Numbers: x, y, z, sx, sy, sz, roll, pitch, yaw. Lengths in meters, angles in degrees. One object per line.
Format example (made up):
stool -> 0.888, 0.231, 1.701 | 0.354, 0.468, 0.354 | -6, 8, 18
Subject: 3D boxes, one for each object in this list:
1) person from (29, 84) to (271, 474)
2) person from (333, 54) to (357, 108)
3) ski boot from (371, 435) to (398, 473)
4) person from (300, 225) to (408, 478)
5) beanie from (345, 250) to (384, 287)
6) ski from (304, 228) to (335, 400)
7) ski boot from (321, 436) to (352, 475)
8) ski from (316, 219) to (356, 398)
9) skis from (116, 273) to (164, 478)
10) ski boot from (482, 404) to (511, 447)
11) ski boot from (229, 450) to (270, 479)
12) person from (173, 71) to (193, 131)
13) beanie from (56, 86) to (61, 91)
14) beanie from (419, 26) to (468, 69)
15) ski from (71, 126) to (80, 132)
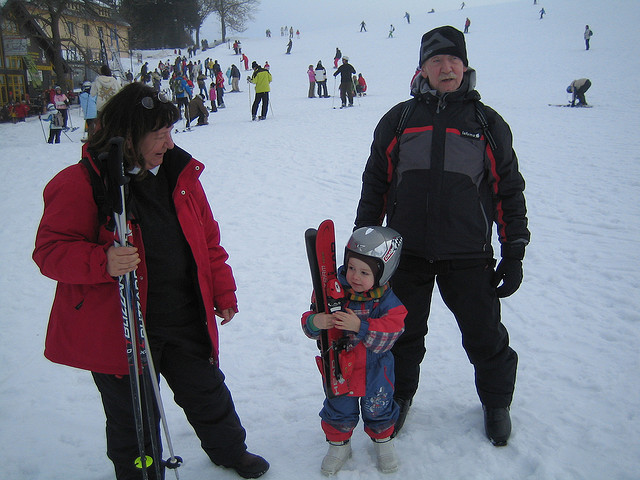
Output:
person -> -0.994, 0.378, 3.038 | 1.087, 2.435, 0.511 | -12, 18, -27
person -> 0.898, -4.671, 15.720 | 0.523, 1.616, 0.690 | -3, -6, -38
ski boot -> 0.420, 1.396, 3.481 | 0.102, 0.312, 0.132 | -11, -8, 5
person -> 0.237, 0.718, 3.407 | 0.676, 1.562, 0.416 | -3, 16, 0
beanie -> 0.287, 0.131, 3.251 | 0.165, 0.220, 0.193 | 18, -23, 15
ski -> -0.006, 0.376, 3.250 | 0.128, 1.179, 0.125 | -7, 2, -43
ski boot -> 0.110, 1.402, 3.467 | 0.228, 0.207, 0.092 | -15, 20, -35
ski -> 0.070, 0.447, 3.277 | 0.209, 1.158, 0.201 | -14, 11, -38
skis -> -1.012, 0.700, 2.979 | 0.147, 1.343, 0.091 | -8, 9, -34
ski boot -> 1.208, 1.266, 3.607 | 0.109, 0.311, 0.129 | -6, -18, 8
ski boot -> -0.463, 1.415, 3.493 | 0.254, 0.252, 0.126 | -3, 21, -19
person -> -3.568, -3.626, 13.654 | 0.437, 1.395, 0.544 | -12, 13, -38
beanie -> -6.701, -3.846, 13.487 | 0.173, 0.050, 0.187 | -2, 8, 8
beanie -> 0.811, -1.258, 3.496 | 0.259, 0.231, 0.276 | 1, 16, 5
ski -> -6.701, -3.038, 14.503 | 0.195, 0.096, 1.164 | -9, 18, -21
